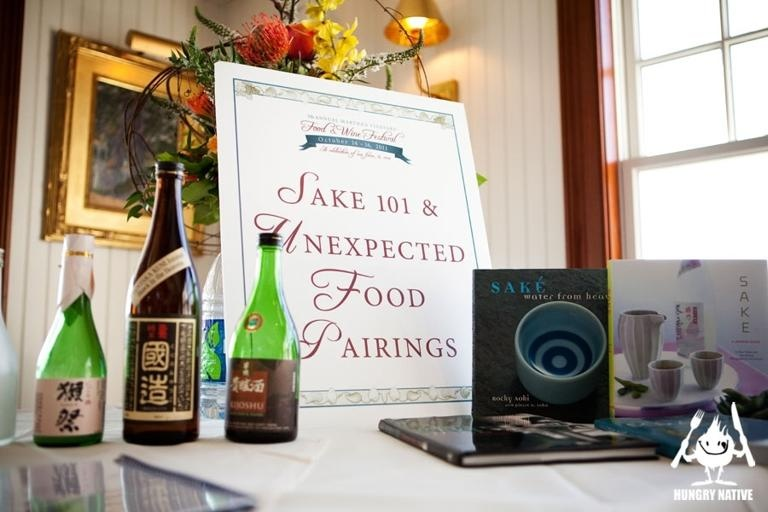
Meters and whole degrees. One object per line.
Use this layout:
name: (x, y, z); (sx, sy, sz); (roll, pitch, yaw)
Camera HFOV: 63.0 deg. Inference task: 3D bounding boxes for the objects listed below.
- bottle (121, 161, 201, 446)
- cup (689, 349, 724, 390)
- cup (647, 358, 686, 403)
bottle: (-0.418, 0.086, 1.173); (0.140, 0.503, 0.181); (-2, 15, -11)
cup: (0.622, 0.231, 1.249); (0.072, 0.077, 0.071); (0, -11, 0)
cup: (0.554, 0.245, 1.249); (0.079, 0.082, 0.078); (0, -9, 0)
